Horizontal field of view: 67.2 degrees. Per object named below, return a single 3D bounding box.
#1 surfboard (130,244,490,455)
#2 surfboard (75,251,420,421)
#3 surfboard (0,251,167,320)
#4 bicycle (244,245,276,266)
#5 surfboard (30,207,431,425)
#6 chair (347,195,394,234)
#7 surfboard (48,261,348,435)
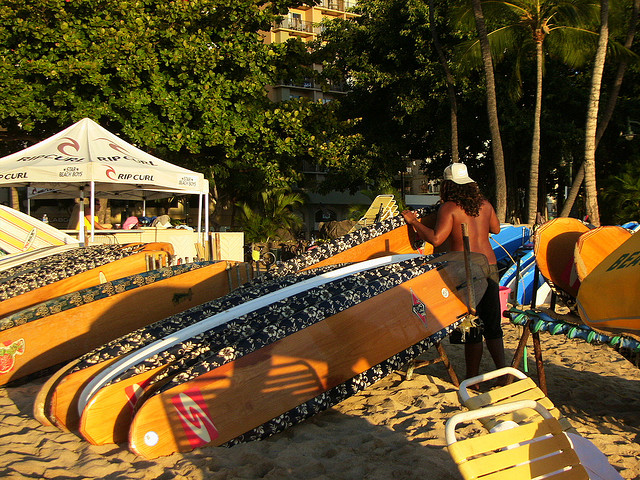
[{"bbox_3d":[-0.034,0.854,4.445,3.671,0.803,0.842,-13,21,-36],"label":"surfboard"},{"bbox_3d":[-0.766,0.708,4.325,3.533,0.404,0.365,-26,-5,11],"label":"surfboard"},{"bbox_3d":[-2.922,0.490,6.176,2.296,0.482,0.411,-18,-6,-28],"label":"surfboard"},{"bbox_3d":[-1.742,0.438,14.550,1.275,0.662,0.595,-4,4,-2],"label":"bicycle"},{"bbox_3d":[-1.047,0.741,5.019,4.905,0.677,0.531,-23,-9,2],"label":"surfboard"},{"bbox_3d":[1.165,-0.664,12.468,0.641,0.274,1.858,5,43,37],"label":"chair"},{"bbox_3d":[-1.069,0.974,4.232,2.332,0.515,0.485,-21,-12,-23],"label":"surfboard"}]
